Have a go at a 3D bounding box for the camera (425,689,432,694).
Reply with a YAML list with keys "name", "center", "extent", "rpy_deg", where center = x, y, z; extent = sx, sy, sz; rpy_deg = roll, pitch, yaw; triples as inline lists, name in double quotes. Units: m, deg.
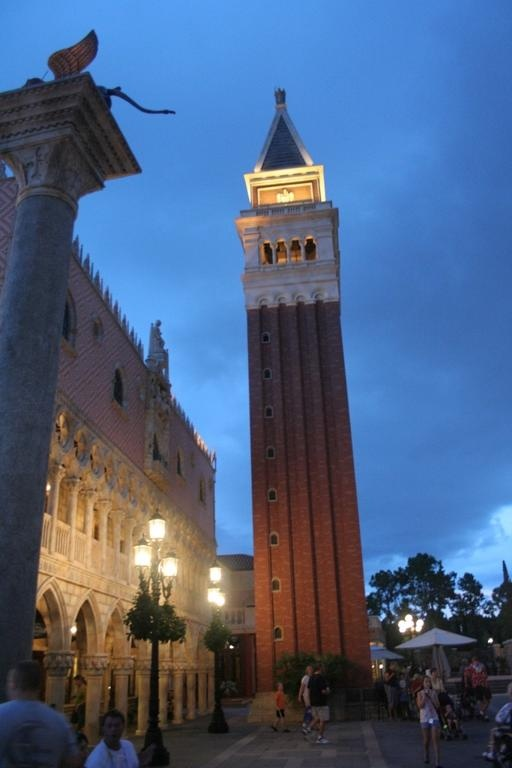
- name: "camera"
  center: [2.814, 5.005, 10.615]
  extent: [0.074, 0.063, 0.081]
  rpy_deg: [1, -3, -11]
